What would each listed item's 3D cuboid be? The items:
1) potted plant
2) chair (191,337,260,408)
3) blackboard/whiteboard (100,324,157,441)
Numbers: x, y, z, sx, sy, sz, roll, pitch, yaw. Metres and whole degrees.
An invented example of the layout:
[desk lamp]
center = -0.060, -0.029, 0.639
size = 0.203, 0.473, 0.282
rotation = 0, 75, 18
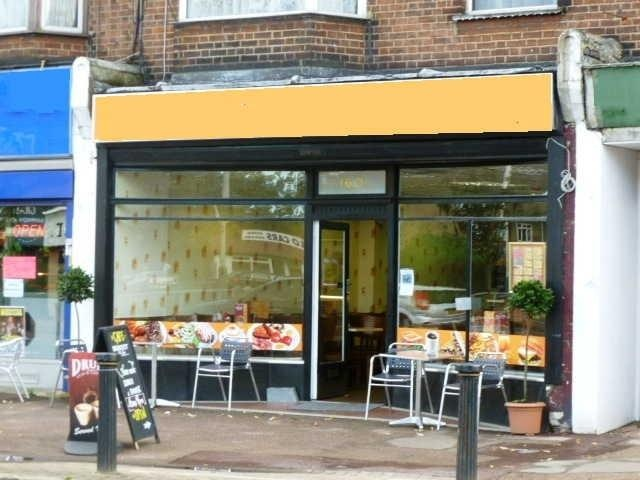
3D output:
[potted plant]
center = 3.019, 1.649, 16.110
size = 0.715, 2.166, 0.660
rotation = -2, -3, 11
[chair]
center = -1.464, 2.034, 17.773
size = 1.035, 1.101, 0.965
rotation = -1, -1, -11
[blackboard/whiteboard]
center = -2.541, 1.957, 15.140
size = 0.517, 1.605, 0.804
rotation = -3, -4, 30
